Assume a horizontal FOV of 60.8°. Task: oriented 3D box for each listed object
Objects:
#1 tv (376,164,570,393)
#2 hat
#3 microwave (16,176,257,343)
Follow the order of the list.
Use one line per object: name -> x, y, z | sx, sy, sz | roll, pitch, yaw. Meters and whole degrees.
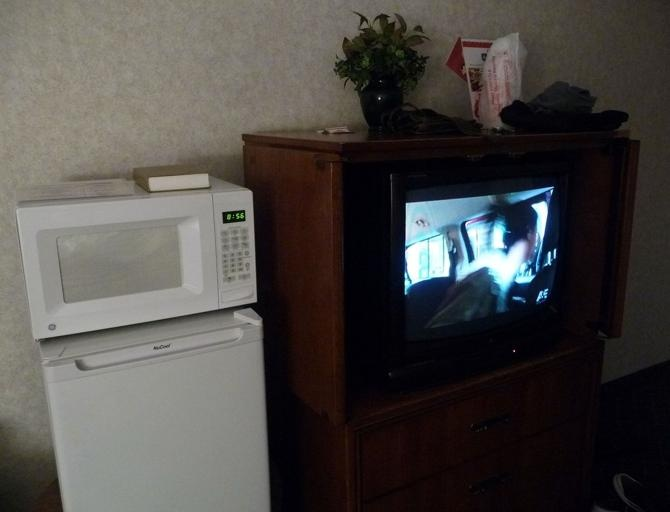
tv -> 0.452, 0.072, 1.973 | 0.660, 0.643, 0.370 | -8, 23, -20
hat -> 0.830, -0.551, 2.111 | 0.434, 0.195, 0.277 | -6, 13, -8
microwave -> -0.567, -0.004, 1.665 | 0.627, 0.401, 0.442 | -11, 19, -29
